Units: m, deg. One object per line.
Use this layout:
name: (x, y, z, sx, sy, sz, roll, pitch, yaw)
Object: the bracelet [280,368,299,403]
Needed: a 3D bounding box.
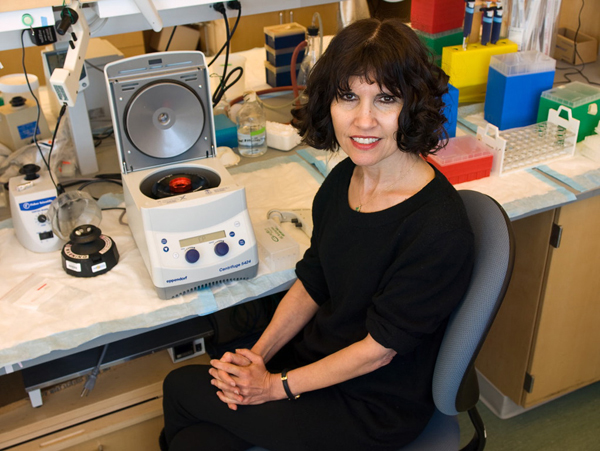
bracelet: (-0.033, 0.414, 1.213, 0.041, 0.073, 0.069, -7, -10, 29)
